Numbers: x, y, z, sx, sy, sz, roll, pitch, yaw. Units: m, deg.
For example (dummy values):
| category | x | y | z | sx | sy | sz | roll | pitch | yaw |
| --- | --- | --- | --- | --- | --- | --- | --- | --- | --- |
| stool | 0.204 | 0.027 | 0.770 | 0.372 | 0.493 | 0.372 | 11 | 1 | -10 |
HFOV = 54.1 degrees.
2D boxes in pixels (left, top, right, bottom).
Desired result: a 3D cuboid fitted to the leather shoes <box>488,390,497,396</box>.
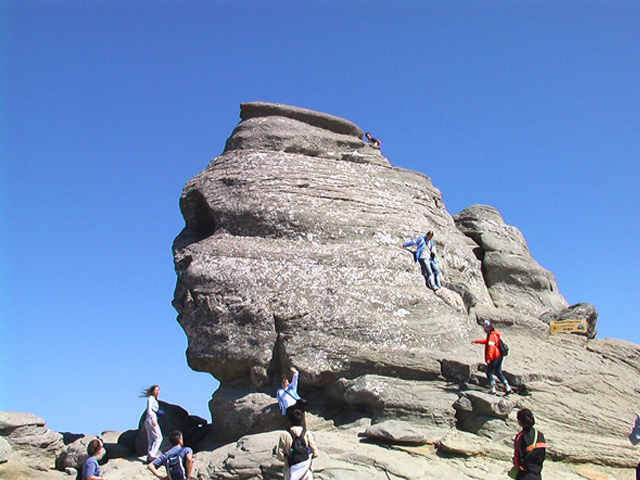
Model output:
| category | x | y | z | sx | sy | sz | roll | pitch | yaw |
| --- | --- | --- | --- | --- | --- | --- | --- | --- | --- |
| leather shoes | 5.300 | 4.701 | 19.267 | 0.165 | 0.097 | 0.163 | 8 | -4 | -41 |

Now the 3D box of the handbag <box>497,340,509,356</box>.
| category | x | y | z | sx | sy | sz | roll | pitch | yaw |
| --- | --- | --- | --- | --- | --- | --- | --- | --- | --- |
| handbag | 5.706 | 3.382 | 19.481 | 0.211 | 0.513 | 0.403 | -19 | -40 | 24 |
